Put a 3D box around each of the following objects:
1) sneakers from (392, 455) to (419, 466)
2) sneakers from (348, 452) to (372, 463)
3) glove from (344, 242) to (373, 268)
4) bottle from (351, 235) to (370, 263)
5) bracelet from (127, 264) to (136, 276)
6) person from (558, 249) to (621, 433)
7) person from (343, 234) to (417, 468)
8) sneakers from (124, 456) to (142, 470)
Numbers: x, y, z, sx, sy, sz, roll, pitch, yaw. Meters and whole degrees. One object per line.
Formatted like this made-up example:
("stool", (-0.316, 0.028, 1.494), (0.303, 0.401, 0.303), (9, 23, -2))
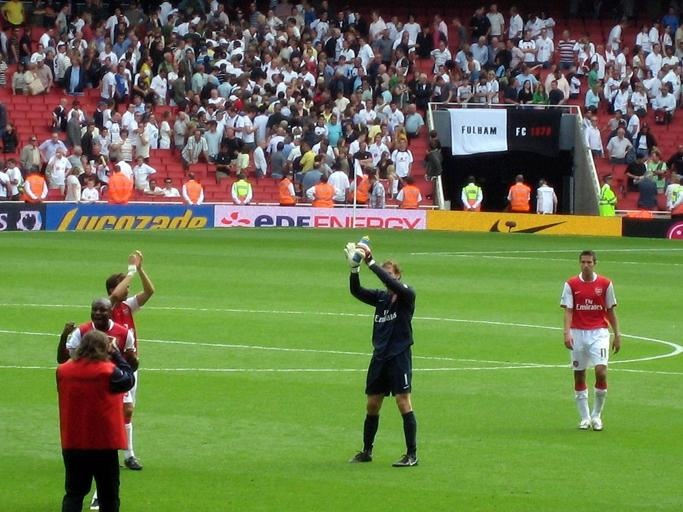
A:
("sneakers", (1.028, 3.294, 24.381), (0.404, 0.181, 0.171), (1, -1, 3))
("sneakers", (0.317, 3.266, 24.501), (0.329, 0.146, 0.143), (3, -2, 2))
("glove", (0.261, -0.058, 24.182), (0.331, 0.463, 0.227), (-8, -2, -12))
("bottle", (0.341, -0.179, 24.163), (0.228, 0.473, 0.189), (21, -10, 8))
("bracelet", (-3.341, 0.203, 23.971), (0.158, 0.169, 0.188), (-1, 10, -18))
("person", (4.316, 1.420, 26.107), (0.984, 3.004, 0.893), (4, 12, 12))
("person", (0.666, 1.491, 24.421), (1.258, 3.655, 1.017), (2, 12, 2))
("sneakers", (-3.354, 3.329, 24.212), (0.332, 0.148, 0.137), (2, 3, 35))
